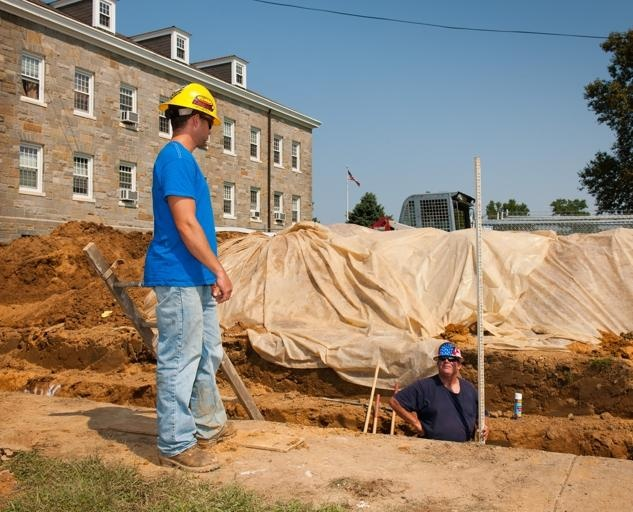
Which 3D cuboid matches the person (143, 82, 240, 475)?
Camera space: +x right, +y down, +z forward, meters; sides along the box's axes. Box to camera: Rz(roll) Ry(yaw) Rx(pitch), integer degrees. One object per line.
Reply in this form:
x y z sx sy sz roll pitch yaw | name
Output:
-1.086 0.394 5.452 0.688 2.687 0.648 0 7 -16 | person

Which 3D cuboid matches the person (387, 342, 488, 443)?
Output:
1.403 1.604 7.545 1.375 1.536 0.620 2 -8 -3 | person

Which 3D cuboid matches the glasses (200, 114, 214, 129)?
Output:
-0.965 -1.198 5.748 0.104 0.041 0.083 22 13 28 | glasses

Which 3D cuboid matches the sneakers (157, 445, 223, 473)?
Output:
-1.051 1.664 5.395 0.424 0.171 0.211 -1 1 3 | sneakers

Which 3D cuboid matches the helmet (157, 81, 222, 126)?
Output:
-1.103 -1.345 5.712 0.524 0.260 0.369 14 6 -22 | helmet

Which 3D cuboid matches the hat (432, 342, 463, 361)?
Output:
1.490 1.067 7.312 0.217 0.144 0.304 1 -13 12 | hat
